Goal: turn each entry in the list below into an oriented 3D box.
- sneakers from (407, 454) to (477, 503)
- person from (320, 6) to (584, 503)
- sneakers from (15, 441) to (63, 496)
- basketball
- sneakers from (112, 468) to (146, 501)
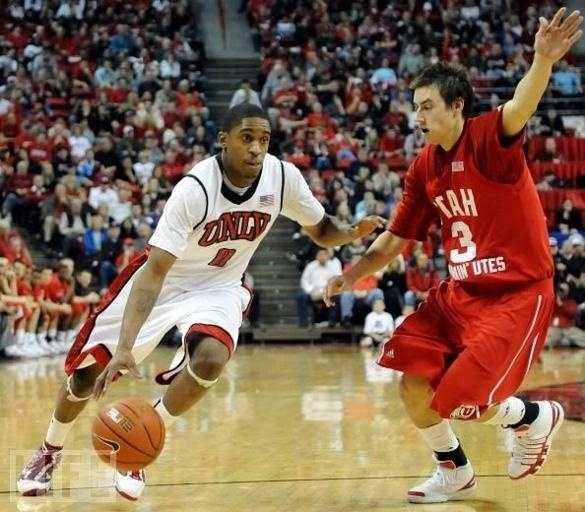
[{"bbox_3d":[0.807,1.200,3.935,0.430,0.257,0.154,1,-7,-12],"label":"sneakers"},{"bbox_3d":[0.920,0.045,3.773,0.606,1.676,1.245,0,0,-37],"label":"person"},{"bbox_3d":[-1.432,1.189,4.072,0.149,0.189,0.449,1,5,0],"label":"sneakers"},{"bbox_3d":[-0.803,0.835,3.581,0.344,0.338,0.344,5,-6,-45],"label":"basketball"},{"bbox_3d":[-0.861,1.182,3.817,0.149,0.163,0.216,0,0,-13],"label":"sneakers"}]
